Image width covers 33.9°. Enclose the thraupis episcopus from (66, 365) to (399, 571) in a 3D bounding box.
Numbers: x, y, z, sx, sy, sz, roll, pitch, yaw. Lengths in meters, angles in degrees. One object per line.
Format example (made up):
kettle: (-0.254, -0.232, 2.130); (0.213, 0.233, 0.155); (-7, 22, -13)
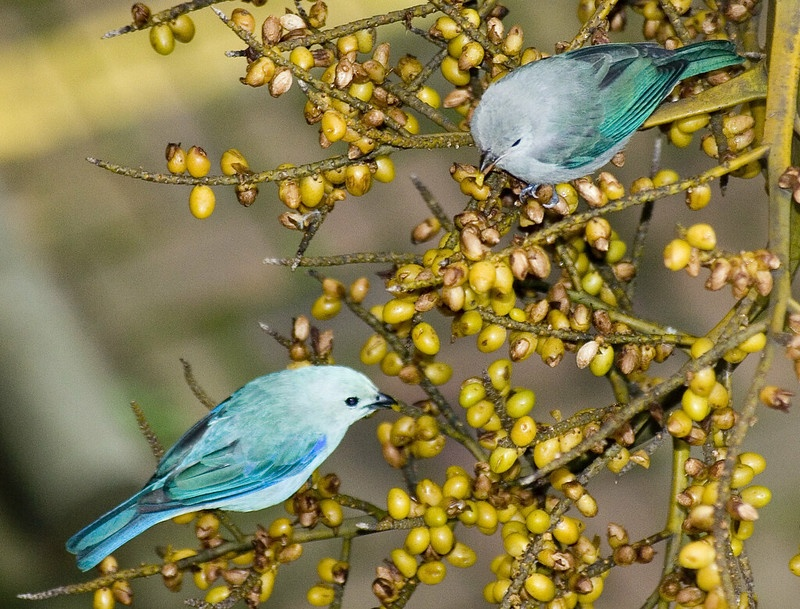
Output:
thraupis episcopus: (-0.682, 0.645, 5.438); (1.344, 0.452, 0.631); (-13, -55, -27)
